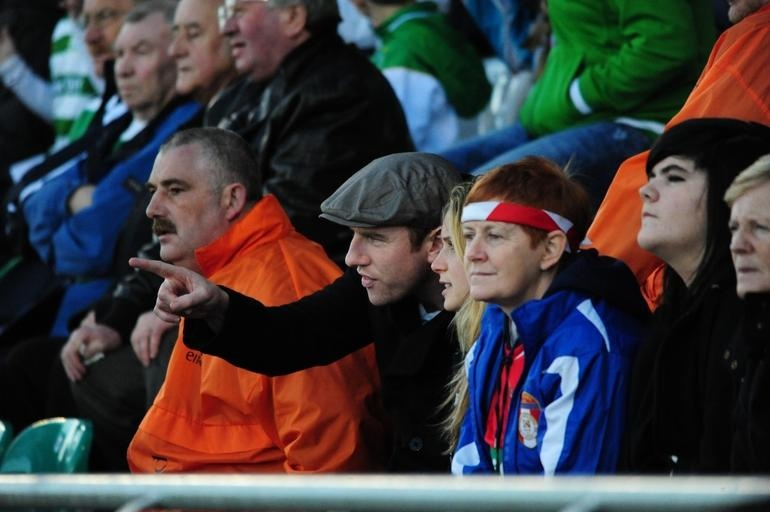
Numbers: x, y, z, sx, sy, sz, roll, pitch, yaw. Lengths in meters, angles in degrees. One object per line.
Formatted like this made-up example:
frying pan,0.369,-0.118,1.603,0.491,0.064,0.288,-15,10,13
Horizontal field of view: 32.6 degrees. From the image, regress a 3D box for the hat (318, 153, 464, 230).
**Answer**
hat,0.025,-0.239,4.886,0.410,0.158,0.285,1,6,-11
